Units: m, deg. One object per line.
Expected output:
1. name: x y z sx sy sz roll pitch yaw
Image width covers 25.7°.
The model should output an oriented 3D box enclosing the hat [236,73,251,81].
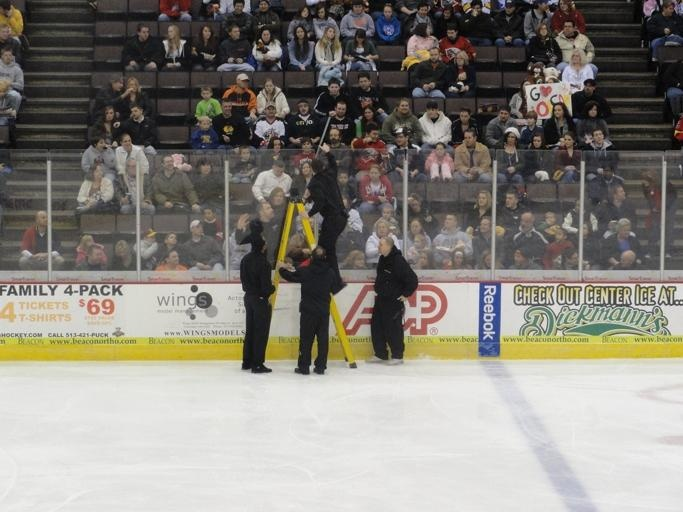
1. hat: -1.922 -3.451 29.068 0.175 0.129 0.226 -9 3 -38

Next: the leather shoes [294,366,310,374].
1. leather shoes: -0.630 1.899 25.149 0.263 0.126 0.196 -1 2 -4

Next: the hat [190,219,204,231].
1. hat: -2.468 -0.540 25.626 0.187 0.098 0.119 -27 -5 29

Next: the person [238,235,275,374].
1. person: -1.405 0.777 25.128 0.727 2.323 0.393 1 2 44

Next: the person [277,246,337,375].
1. person: -0.496 0.905 25.113 0.806 2.112 0.256 -1 2 -2

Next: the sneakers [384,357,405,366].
1. sneakers: 0.916 1.788 25.617 0.246 0.087 0.140 2 0 -15

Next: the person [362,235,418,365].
1. person: 0.901 0.734 25.555 0.748 2.123 0.498 -1 2 -2

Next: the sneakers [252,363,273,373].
1. sneakers: -1.343 1.877 25.192 0.401 0.163 0.128 -1 4 -14

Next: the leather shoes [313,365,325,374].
1. leather shoes: -0.365 1.895 25.130 0.197 0.132 0.129 -1 2 3
